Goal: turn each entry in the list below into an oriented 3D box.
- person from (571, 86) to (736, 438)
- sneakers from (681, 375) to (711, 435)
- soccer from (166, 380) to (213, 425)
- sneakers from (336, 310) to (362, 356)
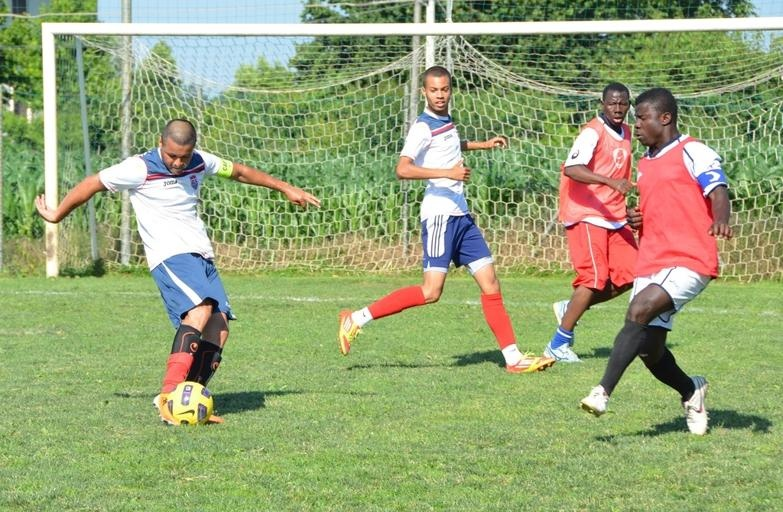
[{"bbox_3d":[2.519,0.073,9.450,1.054,3.137,0.855,2,11,8],"label":"person"},{"bbox_3d":[2.863,1.380,9.622,0.231,0.556,0.188,5,-8,-44],"label":"sneakers"},{"bbox_3d":[-1.994,1.385,9.862,0.334,0.322,0.336,30,26,-37],"label":"soccer"},{"bbox_3d":[-0.456,0.837,11.344,0.270,0.532,0.194,1,-5,10],"label":"sneakers"}]
